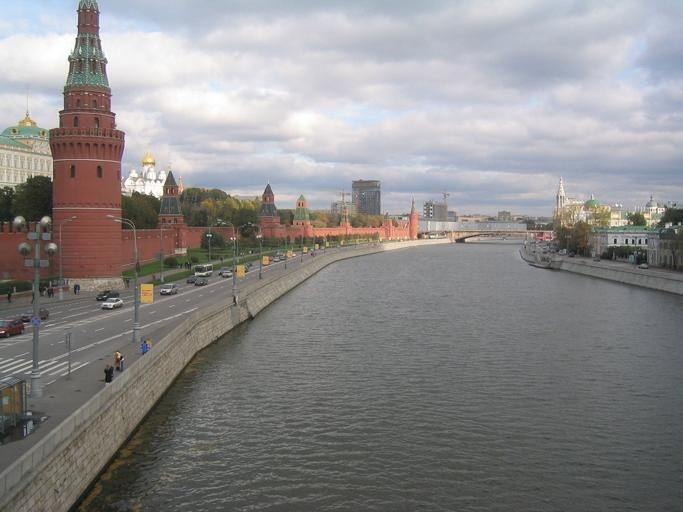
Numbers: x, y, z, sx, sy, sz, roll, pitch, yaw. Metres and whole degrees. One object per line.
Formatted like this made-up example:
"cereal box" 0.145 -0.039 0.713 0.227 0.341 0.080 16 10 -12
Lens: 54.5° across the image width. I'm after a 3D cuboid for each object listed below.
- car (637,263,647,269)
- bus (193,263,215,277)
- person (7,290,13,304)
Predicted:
"car" 47.416 1.692 103.657 1.121 0.843 1.744 -1 8 21
"bus" -18.067 1.940 84.880 1.404 1.322 4.614 -1 0 0
"person" -29.991 3.777 59.398 0.387 1.165 0.983 -4 -4 2
